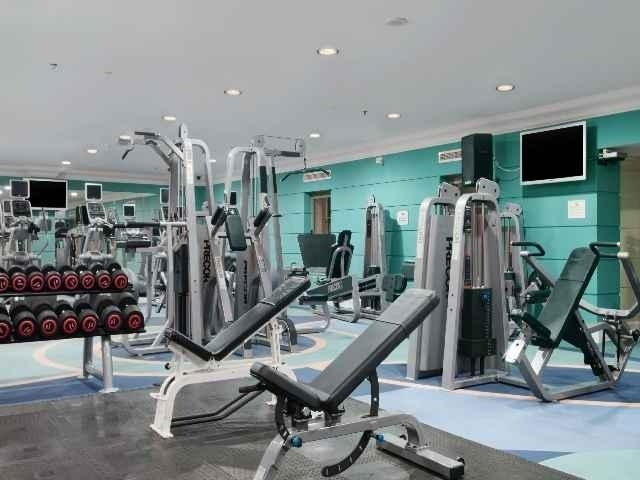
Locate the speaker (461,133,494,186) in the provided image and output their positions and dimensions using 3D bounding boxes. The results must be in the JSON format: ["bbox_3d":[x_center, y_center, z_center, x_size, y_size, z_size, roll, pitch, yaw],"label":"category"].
[{"bbox_3d":[1.981,-1.009,6.288,0.372,0.646,0.255,-2,2,13],"label":"speaker"}]

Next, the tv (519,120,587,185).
[{"bbox_3d":[3.276,-1.218,6.960,0.095,0.806,0.932,-6,8,-43],"label":"tv"}]

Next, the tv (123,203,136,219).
[{"bbox_3d":[-4.426,-0.665,11.605,0.226,0.352,0.465,-3,2,-22],"label":"tv"}]

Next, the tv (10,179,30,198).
[{"bbox_3d":[-5.813,-0.996,9.696,0.261,0.395,0.573,-3,2,-25],"label":"tv"}]

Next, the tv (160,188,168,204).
[{"bbox_3d":[-3.523,-0.997,11.326,0.161,0.391,0.709,-3,2,-20],"label":"tv"}]

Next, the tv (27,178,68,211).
[{"bbox_3d":[-6.252,-1.040,11.413,0.140,0.834,1.027,2,3,42],"label":"tv"}]
